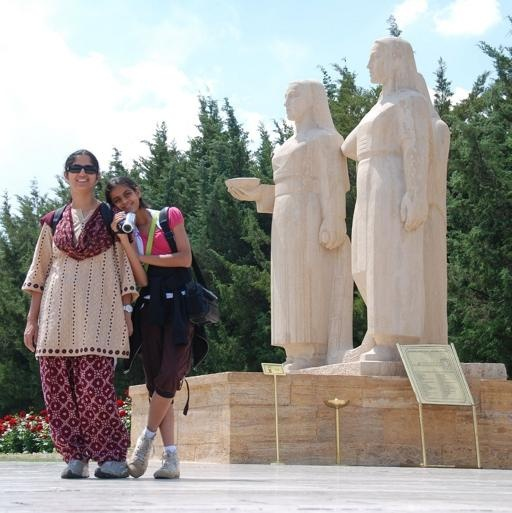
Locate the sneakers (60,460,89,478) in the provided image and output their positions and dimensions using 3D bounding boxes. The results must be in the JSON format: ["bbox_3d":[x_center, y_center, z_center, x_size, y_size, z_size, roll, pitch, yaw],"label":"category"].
[{"bbox_3d":[-1.048,1.227,6.059,0.150,0.107,0.273,-4,-6,-11],"label":"sneakers"}]

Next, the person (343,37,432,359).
[{"bbox_3d":[1.353,-0.647,10.516,0.940,3.338,0.828,-5,-5,10],"label":"person"}]

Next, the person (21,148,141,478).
[{"bbox_3d":[-1.069,0.328,6.299,0.714,2.006,0.524,-5,-5,3],"label":"person"}]

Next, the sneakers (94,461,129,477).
[{"bbox_3d":[-0.829,1.230,6.042,0.162,0.128,0.088,0,-3,-18],"label":"sneakers"}]

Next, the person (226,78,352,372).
[{"bbox_3d":[0.515,-0.409,11.716,1.105,3.290,0.767,-6,-5,12],"label":"person"}]

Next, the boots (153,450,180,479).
[{"bbox_3d":[-0.545,1.279,6.365,0.081,0.137,0.208,-3,-21,9],"label":"boots"}]
